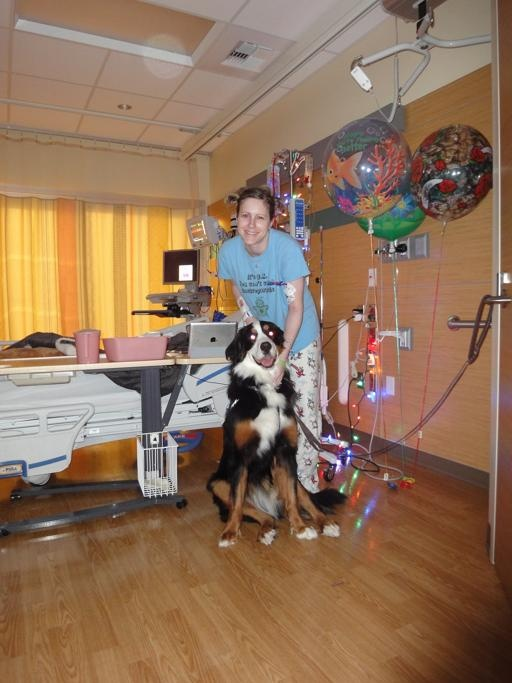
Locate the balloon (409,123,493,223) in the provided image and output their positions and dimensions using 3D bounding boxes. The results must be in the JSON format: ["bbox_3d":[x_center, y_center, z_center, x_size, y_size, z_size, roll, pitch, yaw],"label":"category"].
[{"bbox_3d":[0.852,-0.750,2.108,0.328,0.390,0.224,0,2,18],"label":"balloon"}]

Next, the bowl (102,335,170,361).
[{"bbox_3d":[-0.551,0.019,2.201,0.205,0.084,0.136,-3,1,-23],"label":"bowl"}]

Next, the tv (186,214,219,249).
[{"bbox_3d":[-0.444,-0.958,4.170,0.245,0.238,0.402,-2,2,-25],"label":"tv"}]

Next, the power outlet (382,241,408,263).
[{"bbox_3d":[0.912,-0.610,3.249,0.113,0.142,0.252,-2,2,-19],"label":"power outlet"}]

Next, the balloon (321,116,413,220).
[{"bbox_3d":[0.576,-0.892,2.506,0.444,0.491,0.437,-7,18,-1],"label":"balloon"}]

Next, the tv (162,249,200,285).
[{"bbox_3d":[-0.729,-0.728,4.701,0.447,0.355,0.045,1,2,34],"label":"tv"}]

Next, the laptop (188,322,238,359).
[{"bbox_3d":[-0.211,-0.006,2.341,0.248,0.170,0.174,-3,13,-28],"label":"laptop"}]

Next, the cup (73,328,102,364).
[{"bbox_3d":[-0.728,0.022,2.068,0.104,0.144,0.147,-2,2,-19],"label":"cup"}]

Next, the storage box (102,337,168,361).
[{"bbox_3d":[-0.544,0.019,2.196,0.196,0.080,0.136,-2,-1,-22],"label":"storage box"}]

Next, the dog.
[{"bbox_3d":[0.057,0.387,2.148,0.730,0.858,0.620,-2,-2,-31],"label":"dog"}]
